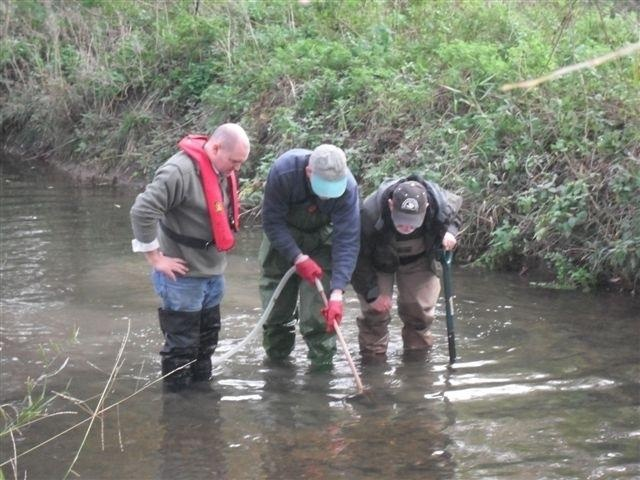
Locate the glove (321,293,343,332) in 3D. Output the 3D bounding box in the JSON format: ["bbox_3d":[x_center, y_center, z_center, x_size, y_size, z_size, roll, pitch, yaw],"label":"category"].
[{"bbox_3d":[0.130,0.746,7.749,0.125,0.317,0.245,8,-12,35],"label":"glove"}]

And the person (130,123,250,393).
[{"bbox_3d":[-1.283,0.186,7.527,1.135,2.652,0.497,-2,9,-13],"label":"person"}]

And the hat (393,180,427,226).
[{"bbox_3d":[0.928,-0.360,7.790,0.311,0.250,0.449,7,46,1],"label":"hat"}]

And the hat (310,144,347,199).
[{"bbox_3d":[0.081,-0.653,7.431,0.373,0.503,0.221,-2,-6,-2],"label":"hat"}]

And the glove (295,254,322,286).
[{"bbox_3d":[-0.113,0.302,7.744,0.139,0.232,0.308,-45,40,-14],"label":"glove"}]
